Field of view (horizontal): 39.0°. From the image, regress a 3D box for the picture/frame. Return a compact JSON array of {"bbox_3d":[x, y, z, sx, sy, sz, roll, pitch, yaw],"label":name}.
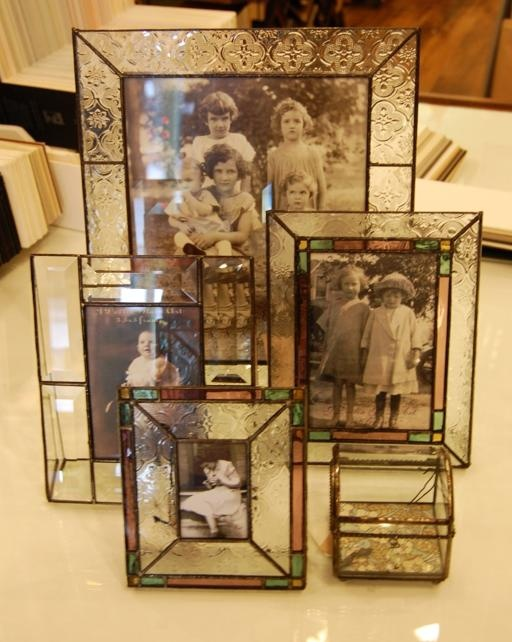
[{"bbox_3d":[-0.010,-0.056,0.913,0.569,0.666,0.424,1,14,12],"label":"picture/frame"}]
